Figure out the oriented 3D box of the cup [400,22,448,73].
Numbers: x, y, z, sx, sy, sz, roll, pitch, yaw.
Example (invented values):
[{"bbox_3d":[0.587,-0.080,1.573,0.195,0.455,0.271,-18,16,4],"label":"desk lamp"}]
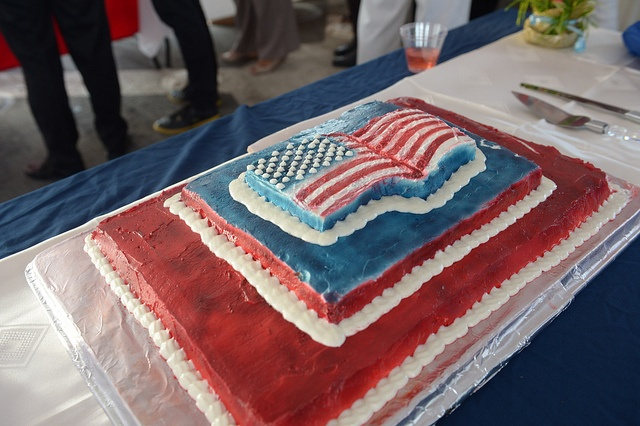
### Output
[{"bbox_3d":[0.559,-0.917,2.736,0.289,0.228,0.293,-2,27,1],"label":"cup"}]
